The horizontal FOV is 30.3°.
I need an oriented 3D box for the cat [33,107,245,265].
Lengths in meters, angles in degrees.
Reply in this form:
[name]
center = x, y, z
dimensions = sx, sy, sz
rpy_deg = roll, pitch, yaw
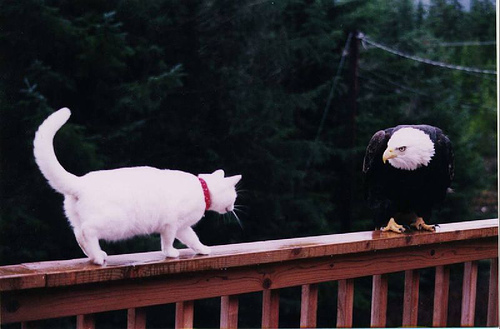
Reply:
[cat]
center = -1.140, 0.254, 8.290
dimensions = 2.378, 1.652, 0.842
rpy_deg = -1, 1, -22
